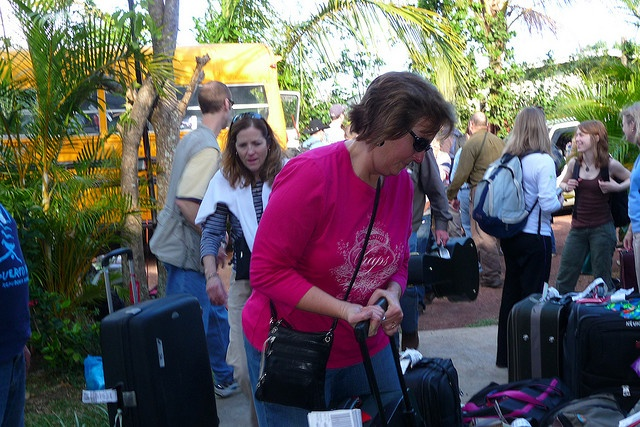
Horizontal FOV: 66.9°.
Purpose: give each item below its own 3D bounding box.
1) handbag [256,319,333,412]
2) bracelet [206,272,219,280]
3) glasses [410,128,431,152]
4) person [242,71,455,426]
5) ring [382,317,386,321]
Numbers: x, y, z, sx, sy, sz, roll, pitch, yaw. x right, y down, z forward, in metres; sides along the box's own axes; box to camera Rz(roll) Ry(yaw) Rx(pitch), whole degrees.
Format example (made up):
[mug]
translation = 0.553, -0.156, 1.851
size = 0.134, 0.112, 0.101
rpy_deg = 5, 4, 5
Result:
[handbag]
translation = -0.121, 0.747, 2.380
size = 0.352, 0.443, 0.202
rpy_deg = 6, -12, 19
[bracelet]
translation = -0.835, 0.481, 3.736
size = 0.059, 0.068, 0.063
rpy_deg = -2, -1, 27
[glasses]
translation = 0.497, -0.370, 2.400
size = 0.107, 0.044, 0.077
rpy_deg = 31, 6, 38
[person]
translation = 0.130, 0.216, 2.531
size = 1.030, 1.817, 0.553
rpy_deg = 0, -3, -12
[ring]
translation = 0.314, 0.521, 2.399
size = 0.017, 0.019, 0.007
rpy_deg = -4, -13, 3
